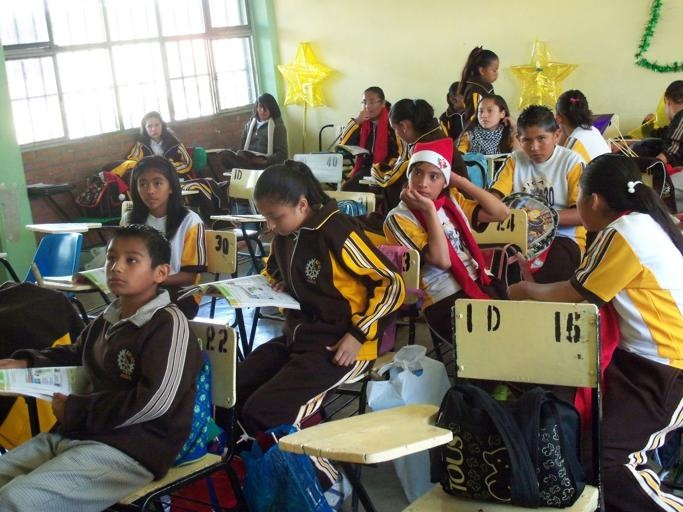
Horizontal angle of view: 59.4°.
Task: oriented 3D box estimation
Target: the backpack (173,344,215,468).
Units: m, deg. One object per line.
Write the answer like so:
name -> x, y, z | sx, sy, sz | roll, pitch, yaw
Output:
backpack -> -0.496, 0.521, 2.055 | 0.081, 0.343, 0.198 | 3, 11, 18

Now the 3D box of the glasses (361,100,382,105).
glasses -> 0.317, -1.570, 6.167 | 0.110, 0.038, 0.117 | 3, 6, 37

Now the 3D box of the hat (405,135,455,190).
hat -> 0.456, -0.461, 2.885 | 0.232, 0.206, 0.183 | 4, 8, 28

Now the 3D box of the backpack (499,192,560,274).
backpack -> 1.013, -0.124, 3.144 | 0.323, 0.397, 0.132 | -15, -5, 27
